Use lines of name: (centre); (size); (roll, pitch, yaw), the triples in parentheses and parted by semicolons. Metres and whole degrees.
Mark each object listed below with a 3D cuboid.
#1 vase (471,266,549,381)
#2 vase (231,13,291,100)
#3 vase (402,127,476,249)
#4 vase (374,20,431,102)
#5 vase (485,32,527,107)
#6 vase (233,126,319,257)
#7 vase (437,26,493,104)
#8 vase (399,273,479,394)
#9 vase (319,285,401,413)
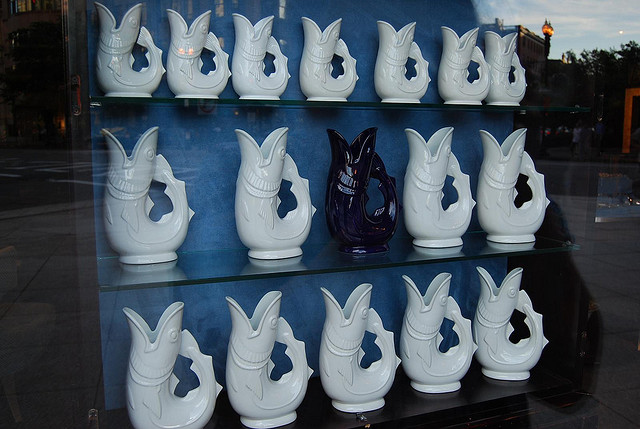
vase: (0.641, 0.372, 1.734); (0.225, 0.399, 0.108); (-1, 16, 16)
vase: (-0.179, -0.462, 1.477); (0.169, 0.250, 0.102); (-5, 11, -6)
vase: (0.376, -0.085, 1.606); (0.229, 0.378, 0.093); (-2, 11, 5)
vase: (0.252, -0.485, 1.590); (0.170, 0.262, 0.127); (-4, 11, -2)
vase: (0.606, -0.482, 1.657); (0.152, 0.231, 0.080); (-7, 12, -19)
vase: (-0.143, -0.066, 1.493); (0.328, 0.480, 0.146); (-5, 6, -34)
vase: (0.463, -0.479, 1.621); (0.170, 0.240, 0.079); (-1, 11, 10)
vase: (0.389, 0.386, 1.664); (0.253, 0.412, 0.120); (-4, 18, 0)
vase: (0.124, 0.417, 1.571); (0.242, 0.398, 0.116); (-3, 14, -4)
